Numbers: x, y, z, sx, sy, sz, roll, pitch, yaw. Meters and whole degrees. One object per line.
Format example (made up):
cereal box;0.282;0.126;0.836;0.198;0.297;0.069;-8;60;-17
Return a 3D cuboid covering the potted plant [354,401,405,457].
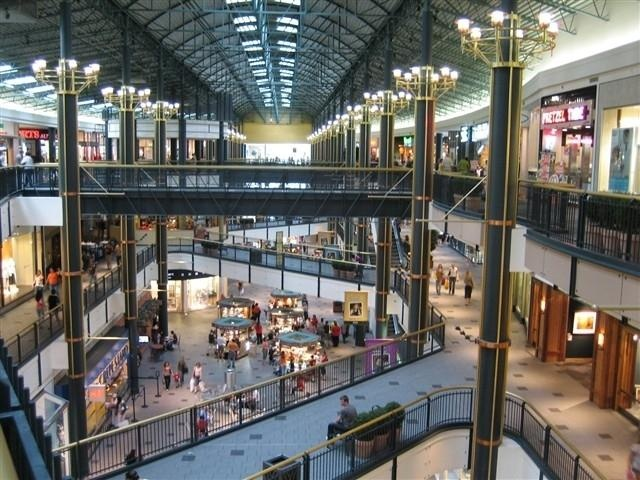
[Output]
potted plant;1.622;5.280;17.110;1.644;1.210;0.538;-7;9;-31

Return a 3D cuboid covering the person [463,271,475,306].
person;7.356;2.234;30.655;0.370;1.524;1.647;0;8;13

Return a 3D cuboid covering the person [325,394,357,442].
person;0.588;5.096;17.641;0.791;1.546;0.570;9;15;18

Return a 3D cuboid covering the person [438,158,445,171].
person;5.108;-3.202;25.847;0.244;0.454;0.901;-1;8;7

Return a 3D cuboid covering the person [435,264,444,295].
person;6.417;1.989;33.064;0.404;1.502;2.213;0;8;11

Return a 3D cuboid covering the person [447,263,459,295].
person;7.052;2.044;32.954;0.449;1.376;1.741;0;8;10
